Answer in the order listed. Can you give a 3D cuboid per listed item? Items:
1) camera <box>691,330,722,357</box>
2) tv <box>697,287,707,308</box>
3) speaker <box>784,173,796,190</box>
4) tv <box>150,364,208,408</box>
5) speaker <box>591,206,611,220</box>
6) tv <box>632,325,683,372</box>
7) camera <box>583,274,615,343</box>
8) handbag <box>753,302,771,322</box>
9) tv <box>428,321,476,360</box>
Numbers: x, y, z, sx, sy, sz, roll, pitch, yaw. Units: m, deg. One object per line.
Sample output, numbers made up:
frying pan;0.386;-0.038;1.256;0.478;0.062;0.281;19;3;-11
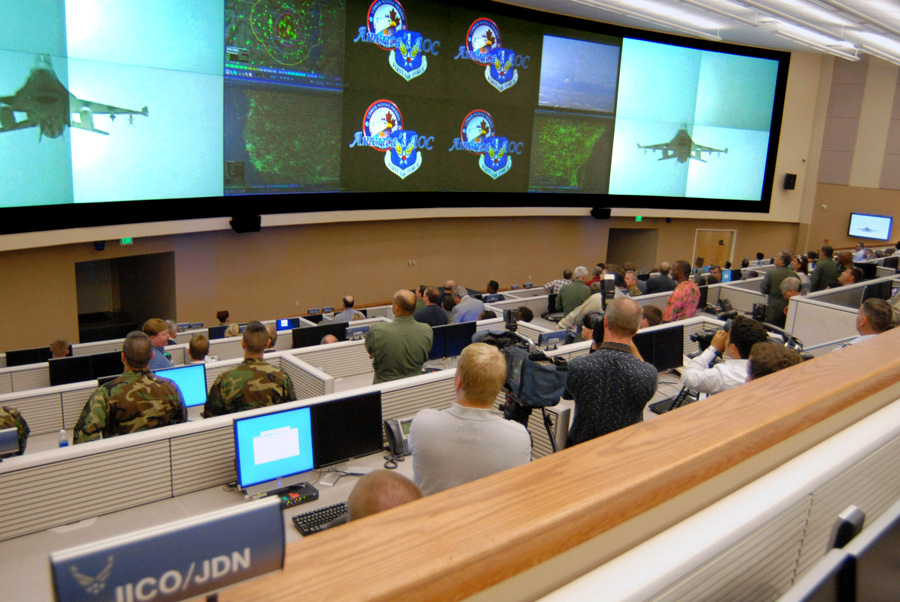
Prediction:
camera;1.891;0.301;4.312;0.130;0.165;0.234;-3;11;-28
tv;3.182;-0.065;7.415;0.028;0.256;0.226;12;21;41
speaker;8.913;-3.173;15.389;0.409;0.403;0.144;3;11;-28
tv;-1.768;0.549;3.826;0.302;0.310;0.042;-15;12;-39
speaker;3.295;-1.943;12.832;0.435;0.287;0.232;0;3;-2
tv;1.583;0.345;4.499;0.420;0.291;0.224;-6;8;-30
camera;1.702;0.158;6.368;0.223;0.768;0.148;-6;-3;-16
handbag;3.733;0.133;7.003;0.182;0.334;0.239;1;1;44
tv;0.006;0.354;5.690;0.546;0.359;0.320;-5;18;-26
